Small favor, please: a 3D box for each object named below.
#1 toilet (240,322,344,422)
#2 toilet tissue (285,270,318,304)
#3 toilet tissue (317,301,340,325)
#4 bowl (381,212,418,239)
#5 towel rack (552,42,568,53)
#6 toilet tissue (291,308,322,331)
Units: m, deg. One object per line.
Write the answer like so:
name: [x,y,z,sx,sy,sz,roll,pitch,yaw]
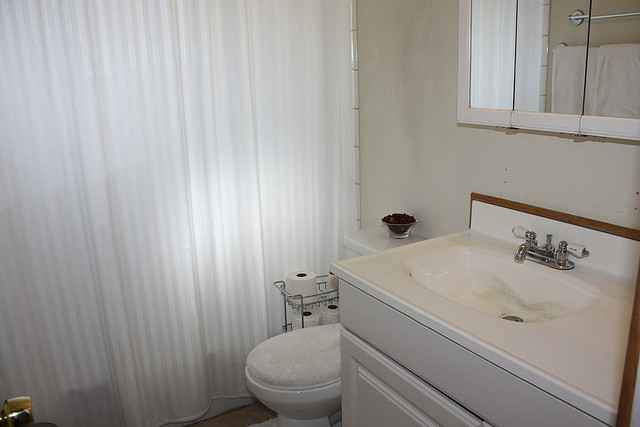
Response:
toilet: [-0.112,0.810,2.072,0.436,0.427,0.358,-4,17,2]
toilet tissue: [-0.108,0.404,2.368,0.176,0.151,0.117,-5,17,0]
toilet tissue: [0.050,0.565,2.459,0.114,0.066,0.111,-2,8,-4]
bowl: [0.384,0.060,2.115,0.158,0.094,0.156,0,12,0]
towel rack: [0.815,-0.566,1.482,0.010,0.041,0.041,-11,10,-28]
toilet tissue: [-0.075,0.575,2.388,0.136,0.082,0.132,-3,6,-16]
